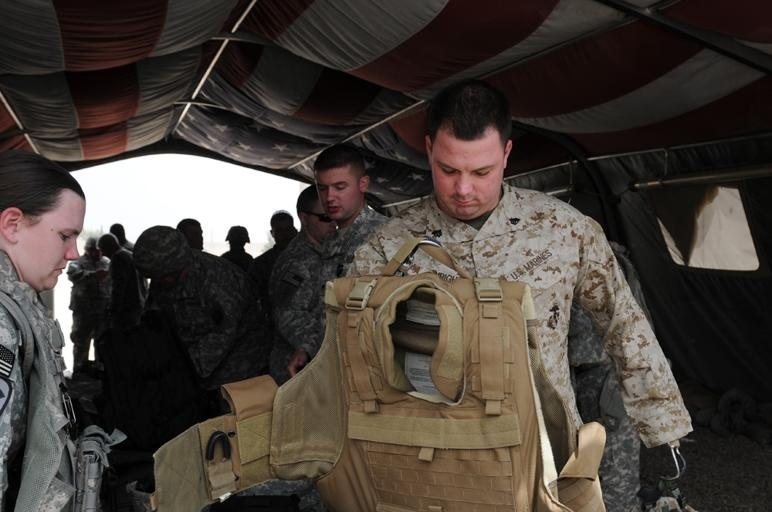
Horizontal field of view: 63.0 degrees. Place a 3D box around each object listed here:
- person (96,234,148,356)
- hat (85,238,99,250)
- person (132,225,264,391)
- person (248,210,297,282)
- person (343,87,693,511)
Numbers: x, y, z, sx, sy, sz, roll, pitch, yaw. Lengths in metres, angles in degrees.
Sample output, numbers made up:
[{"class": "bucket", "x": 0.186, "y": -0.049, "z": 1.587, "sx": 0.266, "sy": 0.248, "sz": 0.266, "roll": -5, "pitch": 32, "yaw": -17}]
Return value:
[{"class": "person", "x": -2.301, "y": 0.337, "z": 5.487, "sx": 0.378, "sy": 0.431, "sz": 1.169, "roll": -8, "pitch": 22, "yaw": -13}, {"class": "hat", "x": -3.794, "y": -0.159, "z": 8.142, "sx": 0.130, "sy": 0.103, "sz": 0.151, "roll": -2, "pitch": 4, "yaw": -2}, {"class": "person", "x": -1.372, "y": 0.398, "z": 4.730, "sx": 0.992, "sy": 1.189, "sz": 0.364, "roll": 2, "pitch": -13, "yaw": -21}, {"class": "person", "x": -1.063, "y": -0.093, "z": 6.523, "sx": 0.838, "sy": 0.713, "sz": 0.396, "roll": -5, "pitch": -1, "yaw": -16}, {"class": "person", "x": 0.701, "y": 0.076, "z": 3.113, "sx": 1.480, "sy": 1.775, "sz": 0.668, "roll": 2, "pitch": -13, "yaw": -21}]
